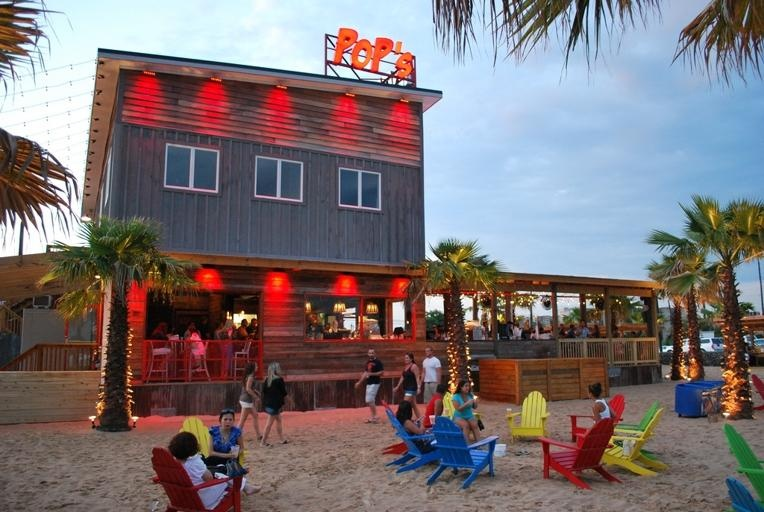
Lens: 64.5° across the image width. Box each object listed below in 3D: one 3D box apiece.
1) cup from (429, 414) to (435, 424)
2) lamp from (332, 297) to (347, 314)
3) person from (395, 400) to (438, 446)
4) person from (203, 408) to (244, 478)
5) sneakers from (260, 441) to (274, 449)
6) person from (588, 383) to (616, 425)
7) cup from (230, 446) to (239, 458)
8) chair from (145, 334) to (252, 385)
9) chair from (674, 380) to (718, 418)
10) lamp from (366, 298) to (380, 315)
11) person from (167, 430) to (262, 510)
[{"bbox_3d":[1.237,3.989,14.794,0.179,0.239,0.239,0,-13,-3],"label":"cup"},{"bbox_3d":[-1.418,1.694,20.648,0.411,0.783,0.448,-2,-5,9],"label":"lamp"},{"bbox_3d":[0.834,3.750,13.550,0.886,0.908,0.659,2,-5,-30],"label":"person"},{"bbox_3d":[-2.999,3.566,11.512,0.773,1.252,0.851,-6,-17,26],"label":"person"},{"bbox_3d":[-2.786,4.598,14.746,0.281,0.122,0.111,3,-3,-22],"label":"sneakers"},{"bbox_3d":[4.759,3.168,13.208,0.541,0.709,1.748,-7,-6,7],"label":"person"},{"bbox_3d":[-2.749,3.677,11.378,0.162,0.202,0.167,-1,-4,0],"label":"cup"},{"bbox_3d":[-5.506,3.144,18.236,3.196,1.250,0.554,3,-9,-26],"label":"chair"},{"bbox_3d":[9.792,4.416,18.611,0.768,1.055,2.434,4,-2,41],"label":"chair"},{"bbox_3d":[-0.282,1.781,21.200,0.474,0.544,0.497,-1,-3,14],"label":"lamp"},{"bbox_3d":[-2.942,3.729,10.666,0.983,1.426,1.338,-2,-6,44],"label":"person"}]
